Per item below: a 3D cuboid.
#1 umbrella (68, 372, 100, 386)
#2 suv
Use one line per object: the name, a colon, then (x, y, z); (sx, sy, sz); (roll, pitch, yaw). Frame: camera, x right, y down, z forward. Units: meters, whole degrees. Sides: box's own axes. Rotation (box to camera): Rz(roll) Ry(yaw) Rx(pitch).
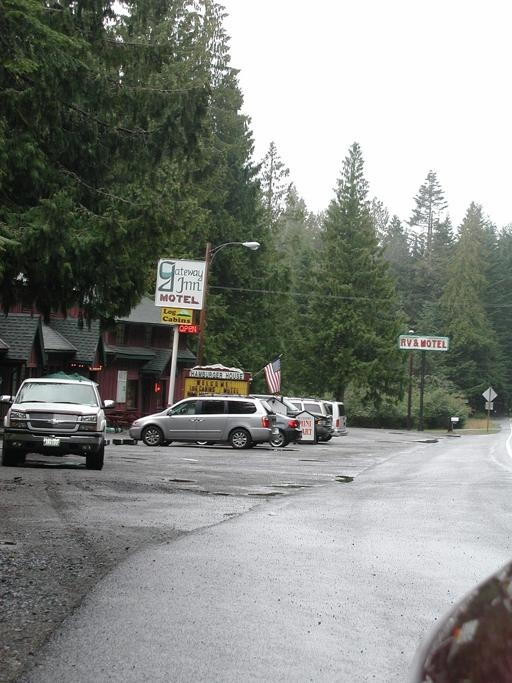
umbrella: (-7.344, 1.491, 28.910); (0.887, 0.452, 1.270); (7, -19, 38)
suv: (-4.945, 1.853, 16.650); (1.638, 1.587, 2.972); (2, -14, -8)
